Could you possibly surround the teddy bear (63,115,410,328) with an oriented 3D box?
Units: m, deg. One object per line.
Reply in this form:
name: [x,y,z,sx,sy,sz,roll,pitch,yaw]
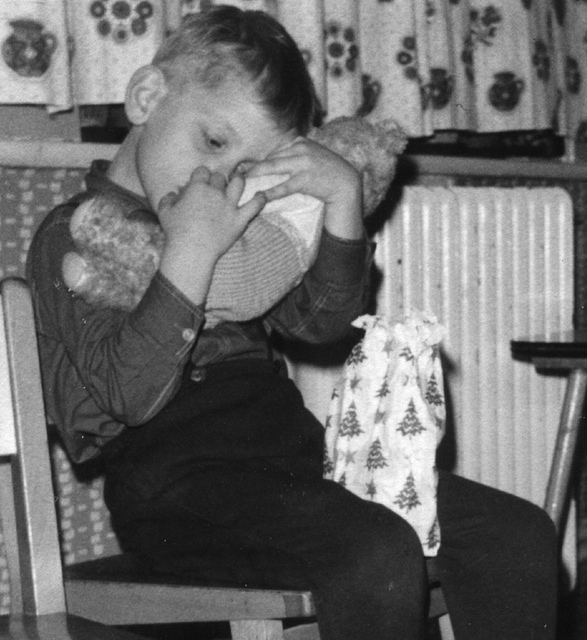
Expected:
teddy bear: [-0.058,-0.088,1.244,0.355,0.131,0.197,-30,43,-23]
